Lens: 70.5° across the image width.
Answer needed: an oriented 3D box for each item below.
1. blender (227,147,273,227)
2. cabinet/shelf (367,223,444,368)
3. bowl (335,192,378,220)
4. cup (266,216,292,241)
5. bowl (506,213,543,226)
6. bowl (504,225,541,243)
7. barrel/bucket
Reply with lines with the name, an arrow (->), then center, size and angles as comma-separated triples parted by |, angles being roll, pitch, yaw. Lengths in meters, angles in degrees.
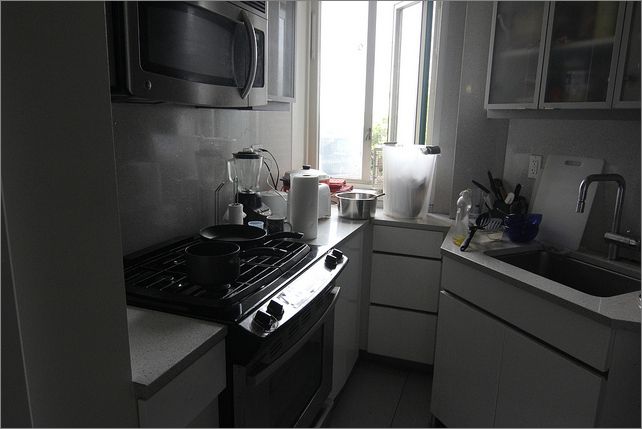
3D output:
blender -> -0.375, -0.153, 2.381 | 0.226, 0.380, 0.295 | -1, 14, -12
cabinet/shelf -> 0.611, 0.513, 3.164 | 0.532, 0.873, 0.493 | 5, 12, 18
bowl -> 0.211, -0.061, 2.920 | 0.273, 0.165, 0.168 | 3, 17, 17
cup -> -0.209, 0.075, 2.247 | 0.141, 0.097, 0.085 | 3, 11, 5
bowl -> 1.113, 0.032, 2.488 | 0.174, 0.072, 0.099 | -2, 14, -17
bowl -> 1.095, 0.112, 2.470 | 0.112, 0.080, 0.111 | -2, 15, 1
barrel/bucket -> 0.546, -0.247, 3.069 | 0.470, 0.529, 0.438 | -1, 12, 0
